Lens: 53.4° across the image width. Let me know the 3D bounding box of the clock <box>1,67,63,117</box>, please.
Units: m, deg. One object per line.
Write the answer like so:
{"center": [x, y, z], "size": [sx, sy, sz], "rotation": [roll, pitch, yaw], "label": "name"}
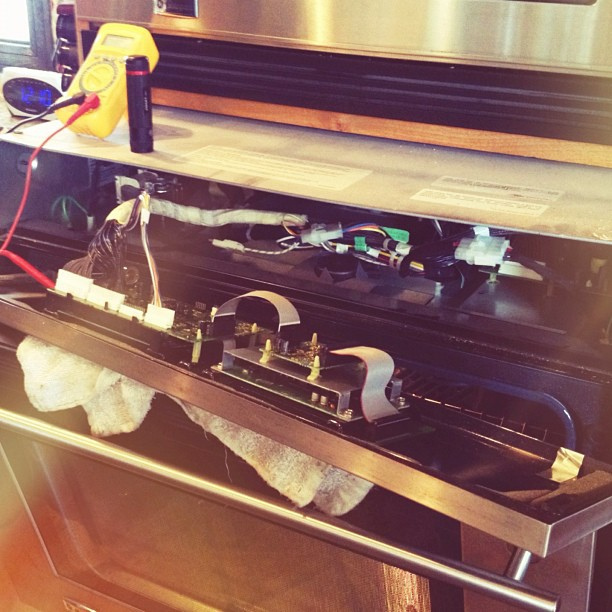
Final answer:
{"center": [-0.753, -0.590, 1.687], "size": [0.223, 0.133, 0.115], "rotation": [14, 20, 29], "label": "clock"}
